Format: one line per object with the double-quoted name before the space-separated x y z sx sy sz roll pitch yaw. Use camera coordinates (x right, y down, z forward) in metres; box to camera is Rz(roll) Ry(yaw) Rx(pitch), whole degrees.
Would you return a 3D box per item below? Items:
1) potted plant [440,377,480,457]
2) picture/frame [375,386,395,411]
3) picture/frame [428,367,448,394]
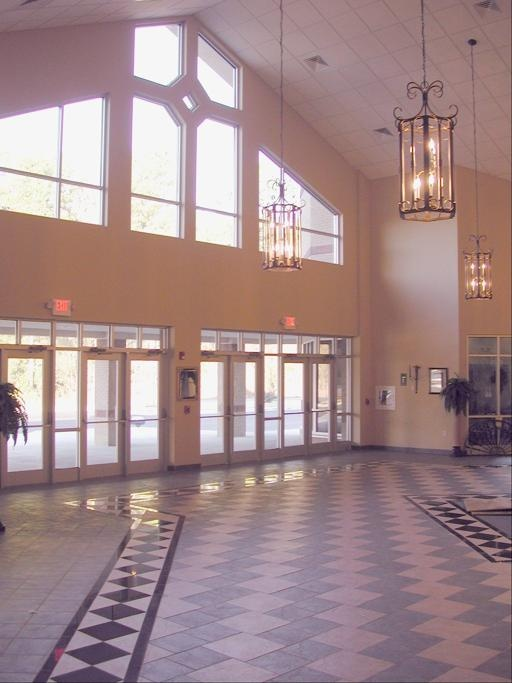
"potted plant" 4.589 1.726 13.602 0.627 1.781 0.548 -2 -2 -2
"picture/frame" 3.218 1.425 14.818 0.037 0.716 0.639 -1 3 -43
"picture/frame" 4.265 0.934 13.945 0.060 0.845 0.600 2 2 -39
